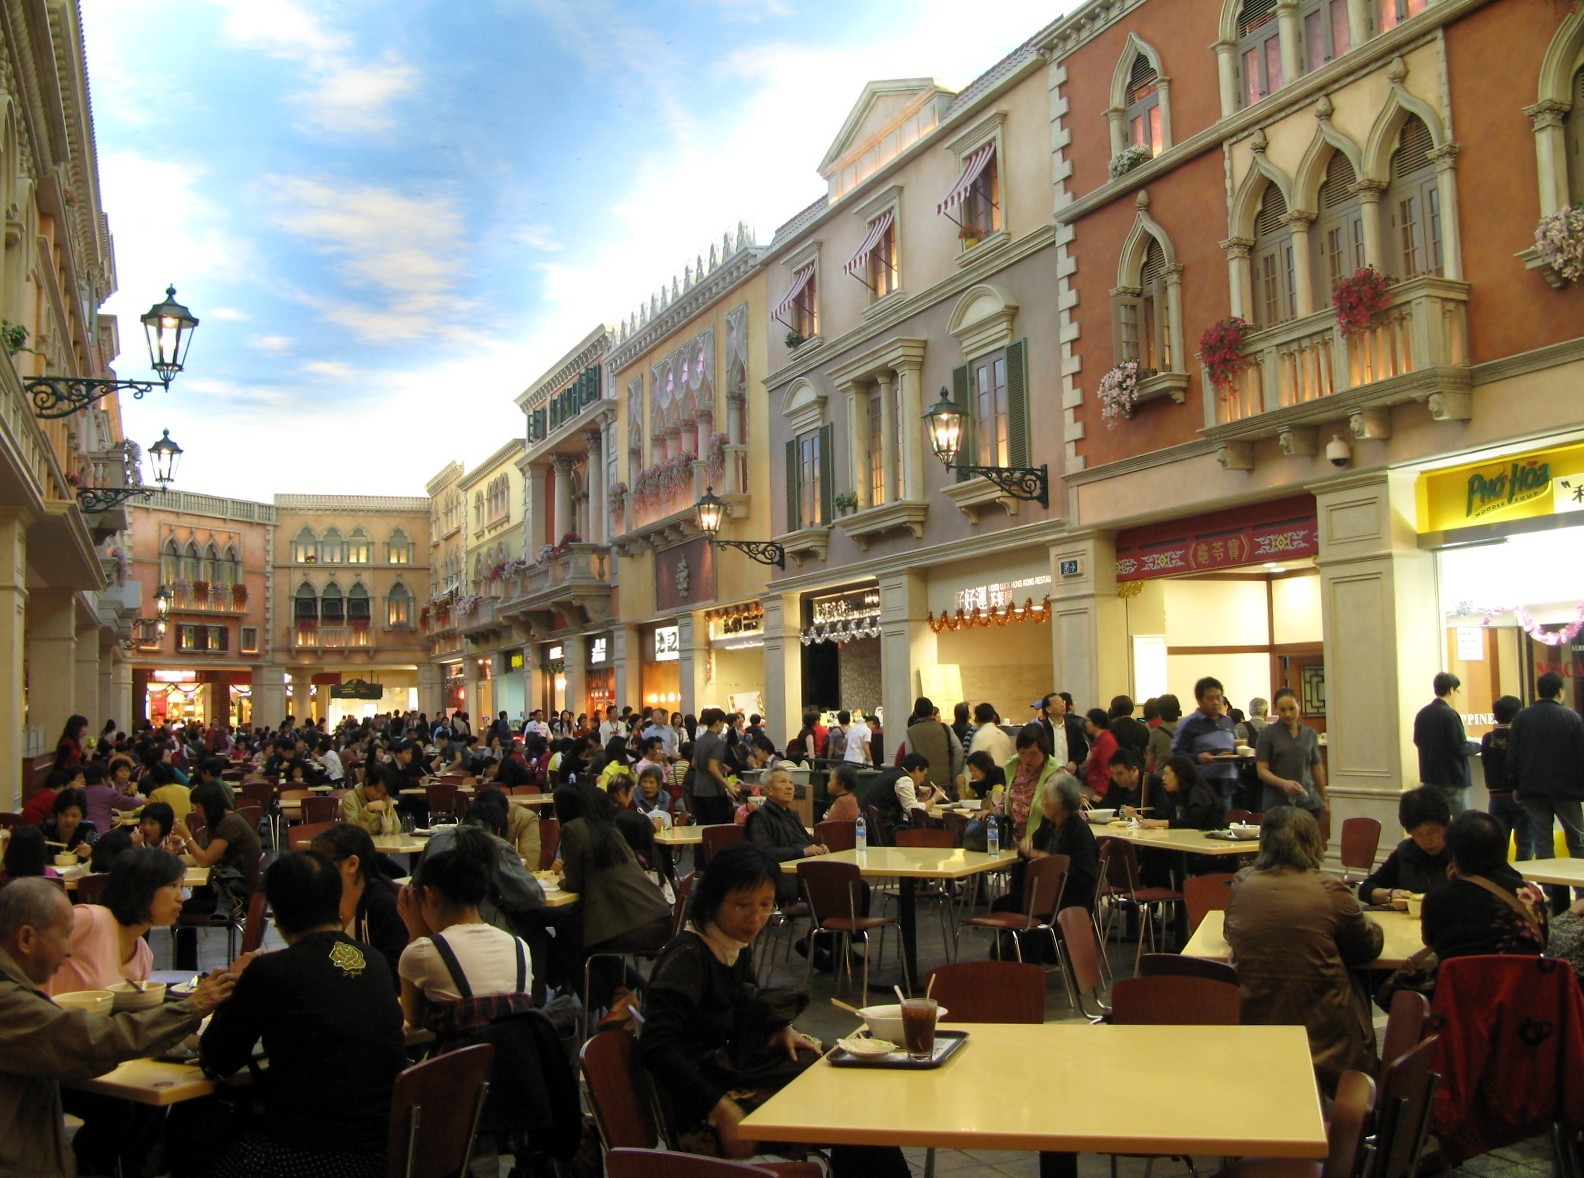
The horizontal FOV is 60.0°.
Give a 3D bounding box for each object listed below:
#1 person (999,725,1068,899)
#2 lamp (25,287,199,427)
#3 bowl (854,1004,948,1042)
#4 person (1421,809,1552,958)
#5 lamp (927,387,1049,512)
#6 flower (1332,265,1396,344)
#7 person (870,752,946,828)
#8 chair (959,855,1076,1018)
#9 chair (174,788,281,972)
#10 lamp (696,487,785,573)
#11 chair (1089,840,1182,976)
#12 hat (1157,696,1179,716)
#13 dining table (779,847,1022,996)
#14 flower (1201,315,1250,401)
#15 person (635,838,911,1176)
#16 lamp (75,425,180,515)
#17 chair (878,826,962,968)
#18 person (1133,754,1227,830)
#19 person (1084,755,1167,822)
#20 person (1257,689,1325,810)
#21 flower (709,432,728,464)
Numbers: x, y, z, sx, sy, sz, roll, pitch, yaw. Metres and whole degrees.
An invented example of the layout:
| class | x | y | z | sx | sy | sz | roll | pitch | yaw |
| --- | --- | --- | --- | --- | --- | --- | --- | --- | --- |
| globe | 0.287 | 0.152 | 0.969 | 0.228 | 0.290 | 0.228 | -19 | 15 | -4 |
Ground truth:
| class | x | y | z | sx | sy | sz | roll | pitch | yaw |
| --- | --- | --- | --- | --- | --- | --- | --- | --- | --- |
| person | 2.209 | 2.289 | 12.911 | 0.664 | 1.898 | 0.603 | 4 | 2 | 44 |
| lamp | -7.394 | -2.524 | 14.793 | 1.864 | 1.520 | 0.579 | 2 | -3 | 4 |
| bowl | 0.462 | 1.951 | 6.194 | 0.266 | 0.131 | 0.324 | 6 | -12 | -17 |
| person | 3.786 | 1.685 | 7.525 | 0.680 | 0.896 | 0.531 | -6 | 4 | 2 |
| lamp | 3.010 | -2.128 | 20.542 | 2.008 | 1.983 | 0.645 | -1 | 2 | -33 |
| flower | 6.047 | -3.067 | 14.534 | 0.287 | 0.631 | 0.700 | 2 | -9 | -28 |
| person | 1.342 | 2.282 | 15.803 | 0.860 | 1.224 | 0.608 | 2 | 0 | -19 |
| chair | 1.829 | 2.698 | 11.189 | 0.720 | 1.089 | 0.628 | -1 | -4 | 40 |
| chair | -5.402 | 2.811 | 12.850 | 0.797 | 1.982 | 0.862 | 0 | -13 | -2 |
| lamp | -1.030 | -1.151 | 26.689 | 2.027 | 1.731 | 0.694 | -2 | -7 | -41 |
| chair | 3.219 | 2.757 | 12.111 | 0.611 | 0.921 | 0.548 | 2 | -6 | 0 |
| hat | 4.232 | 1.336 | 15.400 | 0.180 | 0.247 | 0.235 | 11 | -13 | 20 |
| dining table | 1.047 | 2.959 | 11.817 | 1.430 | 1.449 | 1.469 | 0 | 2 | 15 |
| flower | 5.127 | -2.806 | 16.291 | 0.314 | 0.768 | 0.586 | 9 | 7 | -8 |
| person | -0.165 | 1.948 | 6.952 | 1.511 | 2.150 | 1.192 | -4 | -5 | 4 |
| lamp | -9.573 | -1.682 | 19.697 | 0.519 | 1.421 | 1.662 | 4 | 1 | 34 |
| chair | 1.301 | 2.966 | 13.423 | 0.644 | 1.182 | 0.747 | -1 | -19 | 10 |
| person | 3.811 | 1.975 | 13.405 | 0.758 | 0.663 | 1.557 | -4 | -8 | 14 |
| person | 3.464 | 2.055 | 14.217 | 0.593 | 1.128 | 0.711 | -1 | -3 | -4 |
| person | 4.858 | 1.579 | 13.462 | 0.616 | 1.181 | 1.241 | -5 | -8 | 20 |
| flower | -1.550 | -3.072 | 29.774 | 0.203 | 0.698 | 1.118 | 0 | -8 | -17 |
